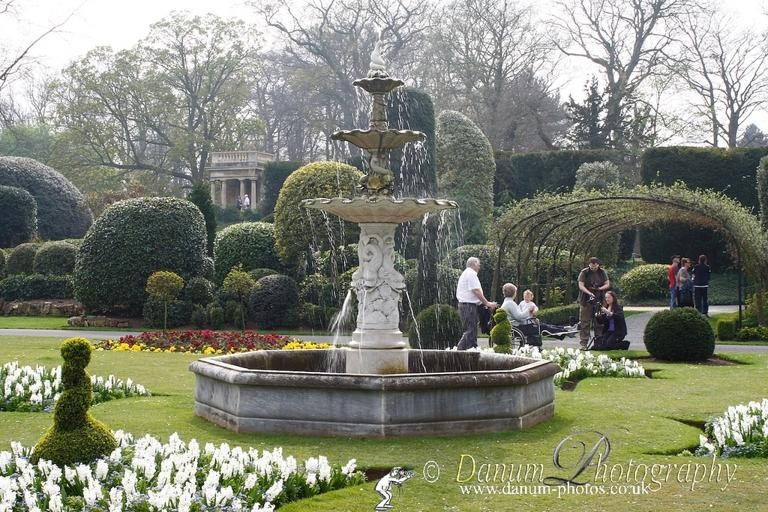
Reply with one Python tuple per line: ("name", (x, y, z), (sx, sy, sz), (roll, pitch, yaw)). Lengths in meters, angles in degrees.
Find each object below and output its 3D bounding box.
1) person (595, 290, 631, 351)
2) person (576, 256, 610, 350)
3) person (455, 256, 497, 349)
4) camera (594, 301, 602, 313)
("person", (8.053, 2.277, 44.142), (1.121, 2.039, 1.034), (0, 0, -14))
("person", (7.369, 1.684, 44.300), (0.928, 3.128, 1.227), (-1, -2, 6))
("person", (3.094, 1.590, 41.948), (1.198, 3.167, 1.292), (0, 0, -18))
("camera", (7.505, 1.813, 44.040), (0.283, 0.440, 0.366), (-1, -3, 7))
